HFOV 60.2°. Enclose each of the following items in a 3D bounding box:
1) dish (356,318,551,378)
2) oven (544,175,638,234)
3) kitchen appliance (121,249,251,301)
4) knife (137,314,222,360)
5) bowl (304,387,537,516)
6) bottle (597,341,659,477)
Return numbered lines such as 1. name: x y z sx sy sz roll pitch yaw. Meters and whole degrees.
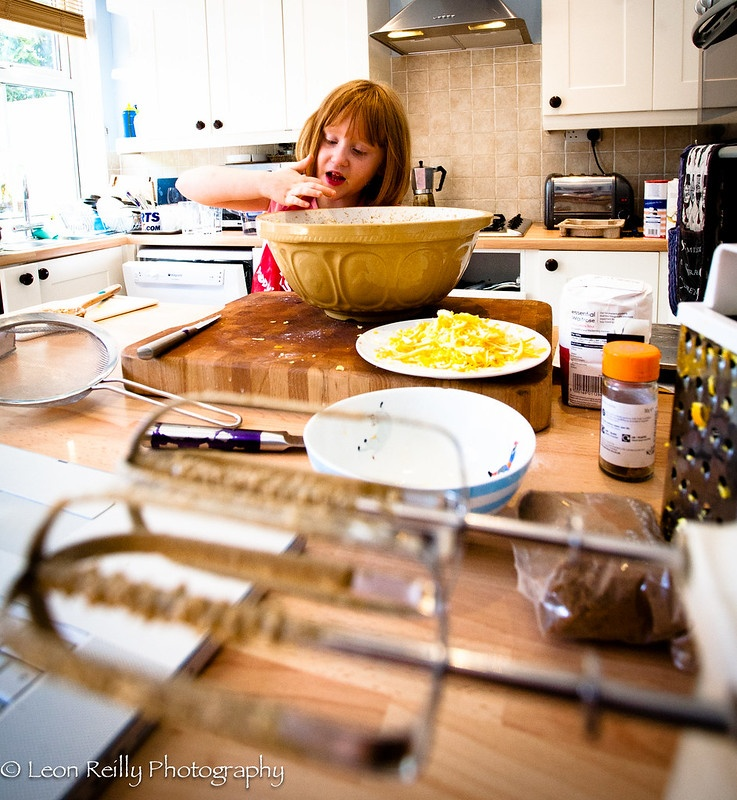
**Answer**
1. dish: 0.100 -0.076 0.763 0.228 0.047 0.215 -1 21 3
2. oven: 0.860 -0.791 2.662 0.365 0.231 0.255 0 -2 10
3. kitchen appliance: -0.871 -0.526 3.041 0.457 0.276 0.316 0 18 -11
4. knife: -0.260 -0.093 0.911 0.027 0.015 0.189 23 20 6
5. bowl: 0.042 0.011 0.465 0.116 0.049 0.118 1 27 -1
6. bottle: 0.219 0.014 0.538 0.047 0.117 0.034 6 22 22
